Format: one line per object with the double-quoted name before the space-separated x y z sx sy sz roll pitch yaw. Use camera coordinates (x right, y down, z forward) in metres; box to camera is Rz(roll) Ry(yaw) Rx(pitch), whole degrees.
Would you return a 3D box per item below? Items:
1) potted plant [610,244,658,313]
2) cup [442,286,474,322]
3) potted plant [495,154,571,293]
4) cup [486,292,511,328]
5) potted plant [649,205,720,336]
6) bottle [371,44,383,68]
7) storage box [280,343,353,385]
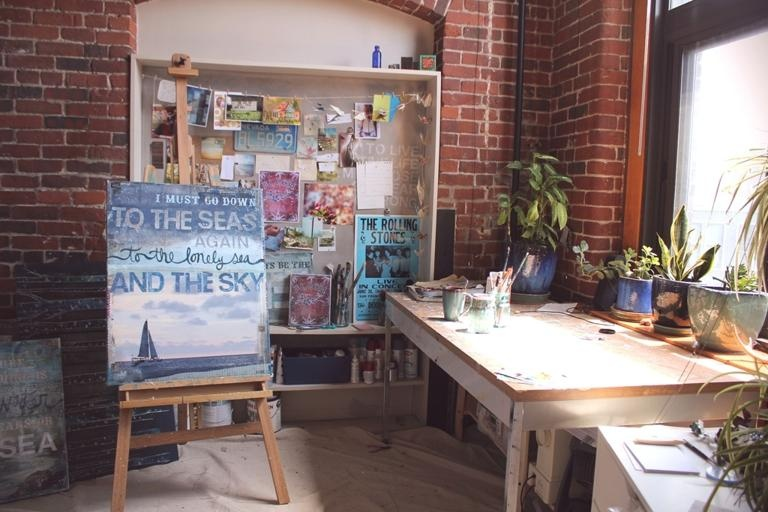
"potted plant" 1.510 0.167 3.558 0.219 0.361 0.217 6 -2 45
"cup" 0.422 0.279 3.420 0.194 0.184 0.122 5 1 40
"potted plant" 1.000 -0.227 3.997 0.484 0.965 0.730 1 7 11
"cup" 0.649 0.302 3.452 0.163 0.267 0.170 -1 3 0
"potted plant" 1.609 0.100 3.298 0.276 0.569 0.300 -3 11 -39
"bottle" -0.053 -1.385 4.163 0.076 0.196 0.201 -1 6 -1
"storage box" -0.475 0.760 4.222 0.388 0.163 0.245 0 -2 -10
